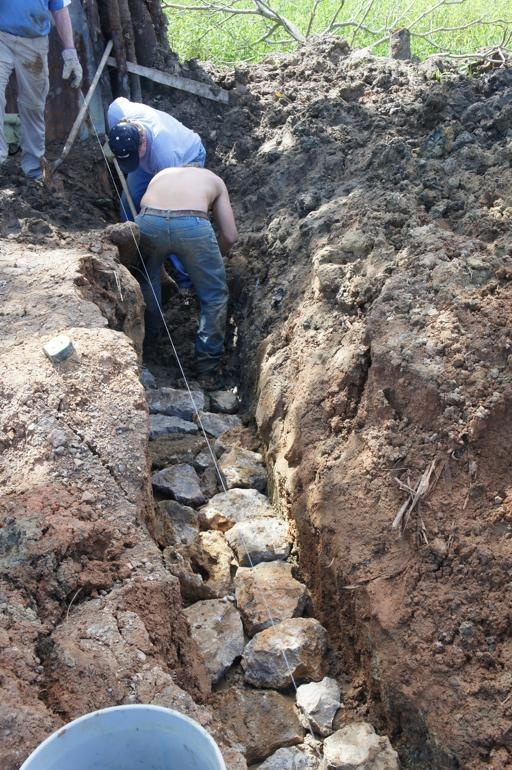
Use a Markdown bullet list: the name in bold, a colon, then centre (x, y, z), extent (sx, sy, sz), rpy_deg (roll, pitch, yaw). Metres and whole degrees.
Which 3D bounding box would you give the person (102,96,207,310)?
- **person**: centre (-0.674, -1.217, 6.026), extent (0.667, 1.588, 0.580), rpy_deg (-23, 61, -16)

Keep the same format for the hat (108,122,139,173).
- **hat**: centre (-0.760, -1.376, 5.416), extent (0.182, 0.327, 0.242), rpy_deg (-6, 31, -10)

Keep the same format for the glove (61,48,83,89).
- **glove**: centre (-1.167, -1.996, 5.865), extent (0.159, 0.269, 0.064), rpy_deg (-26, 67, -15)

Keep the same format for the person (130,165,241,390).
- **person**: centre (-0.420, -0.675, 5.563), extent (0.520, 1.222, 0.706), rpy_deg (5, 31, 8)

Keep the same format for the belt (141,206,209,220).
- **belt**: centre (-0.456, -0.957, 5.203), extent (0.353, 0.081, 0.127), rpy_deg (-2, 30, -4)
